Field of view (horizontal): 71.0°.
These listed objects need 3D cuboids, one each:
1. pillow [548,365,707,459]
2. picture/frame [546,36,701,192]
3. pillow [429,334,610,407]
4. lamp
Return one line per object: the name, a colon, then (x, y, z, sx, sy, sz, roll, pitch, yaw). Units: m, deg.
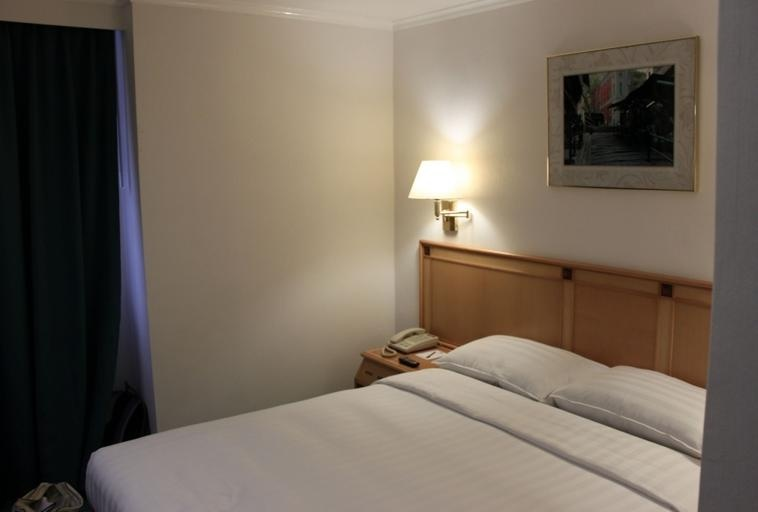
pillow: (1.374, 0.783, 2.892, 0.744, 0.227, 0.407, 11, 14, 43)
picture/frame: (1.514, -0.878, 3.224, 0.954, 0.931, 0.036, 5, 9, 44)
pillow: (0.927, 0.671, 3.312, 0.458, 0.156, 0.500, -6, 10, -33)
lamp: (0.472, -0.441, 4.040, 0.355, 0.569, 0.366, 9, 12, 40)
